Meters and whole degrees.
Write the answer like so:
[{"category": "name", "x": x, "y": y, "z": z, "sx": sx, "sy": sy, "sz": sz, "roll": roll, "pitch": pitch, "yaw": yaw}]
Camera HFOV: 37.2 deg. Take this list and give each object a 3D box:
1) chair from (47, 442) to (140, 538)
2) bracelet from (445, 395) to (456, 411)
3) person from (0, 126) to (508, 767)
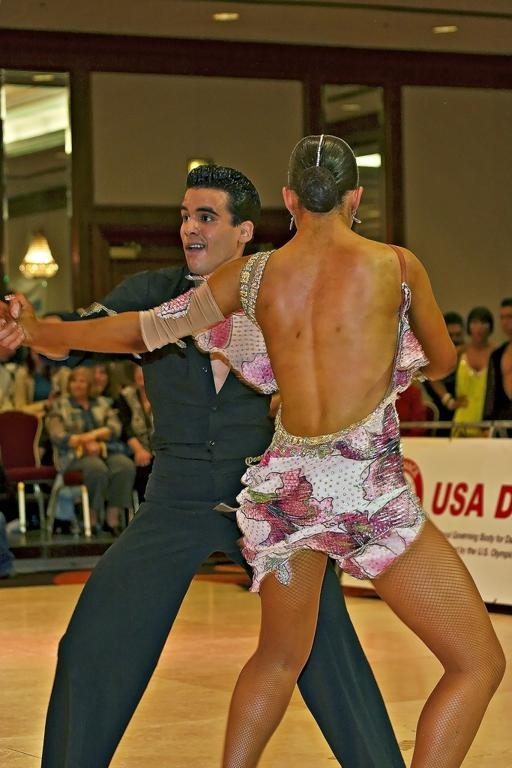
[{"category": "chair", "x": -1.275, "y": 0.922, "z": 7.006, "sx": 0.830, "sy": 0.771, "sz": 0.682, "roll": -3, "pitch": -7, "yaw": -33}, {"category": "bracelet", "x": 1.940, "y": 0.190, "z": 7.540, "sx": 0.049, "sy": 0.129, "sz": 0.115, "roll": -10, "pitch": 37, "yaw": -3}, {"category": "person", "x": 0.107, "y": 0.142, "z": 1.565, "sx": 0.821, "sy": 1.281, "sz": 0.369, "roll": 4, "pitch": 10, "yaw": 26}]
